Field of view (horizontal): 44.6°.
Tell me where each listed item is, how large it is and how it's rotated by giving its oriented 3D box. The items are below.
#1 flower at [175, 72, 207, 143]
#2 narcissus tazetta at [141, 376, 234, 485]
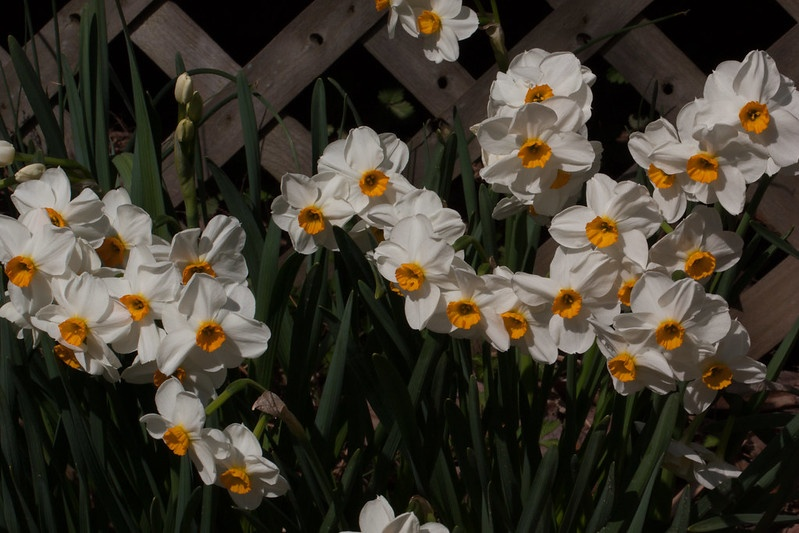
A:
[{"bbox_3d":[-0.562,-0.421,2.592,0.071,0.181,0.160,4,9,-14],"label":"flower"},{"bbox_3d":[-0.543,0.412,2.490,0.225,0.251,0.066,8,7,9],"label":"narcissus tazetta"}]
